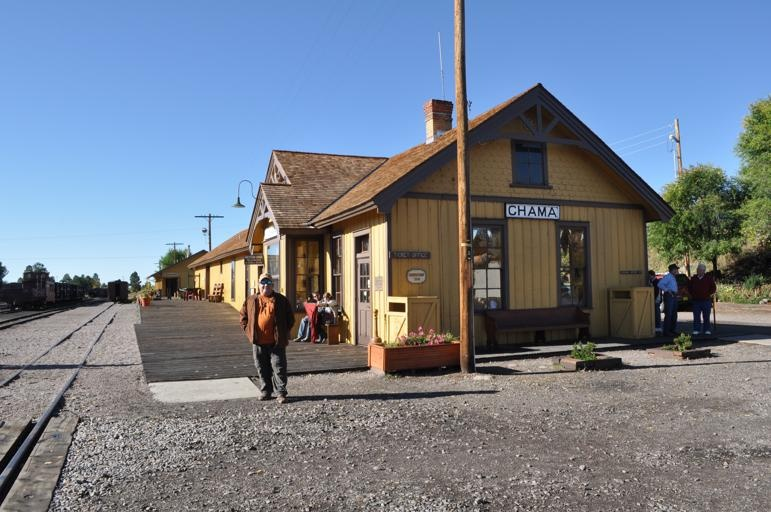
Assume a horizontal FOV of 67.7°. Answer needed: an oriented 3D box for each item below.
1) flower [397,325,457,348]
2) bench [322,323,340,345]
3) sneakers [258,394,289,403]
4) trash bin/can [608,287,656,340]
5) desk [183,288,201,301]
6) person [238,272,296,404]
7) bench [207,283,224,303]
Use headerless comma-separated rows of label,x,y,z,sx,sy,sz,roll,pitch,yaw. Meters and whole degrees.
flower,0.878,1.797,13.177,1.551,0.305,1.263,-2,4,-18
bench,-1.589,2.319,17.107,0.462,0.628,0.649,3,-8,-16
sneakers,-1.961,2.510,10.214,0.603,0.116,0.270,1,4,27
trash bin/can,7.143,1.656,16.579,1.284,1.940,1.322,1,-5,-12
desk,-16.713,3.363,49.881,0.863,1.577,1.144,3,-10,-23
person,-2.108,1.462,10.386,0.862,2.177,0.867,-1,4,-3
bench,-11.417,2.476,38.841,0.702,1.038,1.465,0,-3,-34
